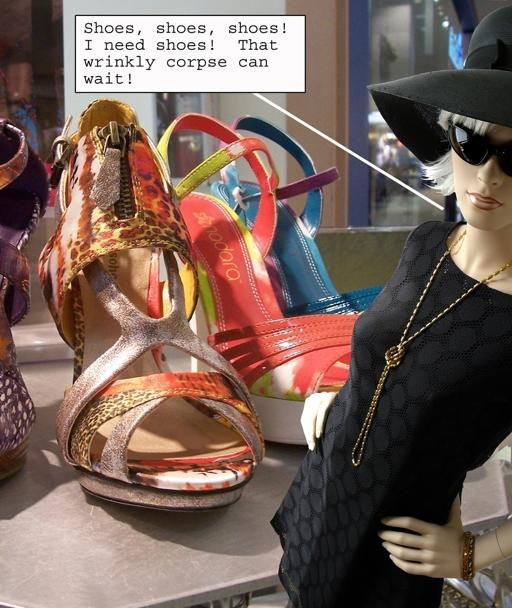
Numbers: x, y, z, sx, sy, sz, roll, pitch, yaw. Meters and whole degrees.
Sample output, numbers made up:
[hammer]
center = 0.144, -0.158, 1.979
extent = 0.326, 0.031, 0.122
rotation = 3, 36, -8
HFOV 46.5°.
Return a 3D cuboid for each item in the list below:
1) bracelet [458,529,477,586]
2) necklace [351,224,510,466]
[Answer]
[bracelet]
center = 0.147, 0.175, 0.412
extent = 0.011, 0.025, 0.022
rotation = -3, 5, 22
[necklace]
center = 0.118, 0.036, 0.453
extent = 0.063, 0.201, 0.016
rotation = 35, 9, 33
